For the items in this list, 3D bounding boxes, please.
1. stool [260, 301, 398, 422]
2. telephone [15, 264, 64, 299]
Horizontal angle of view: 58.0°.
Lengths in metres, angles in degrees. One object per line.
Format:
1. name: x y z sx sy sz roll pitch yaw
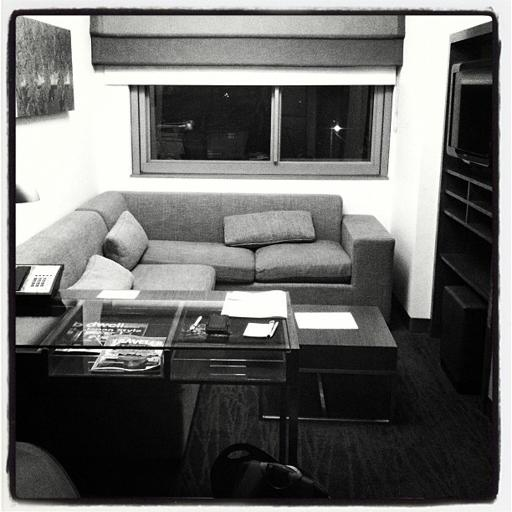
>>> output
1. stool: 0.292 0.408 1.699 0.417 0.263 0.475 5 6 17
2. telephone: -0.586 0.063 1.241 0.082 0.039 0.107 5 41 -3
